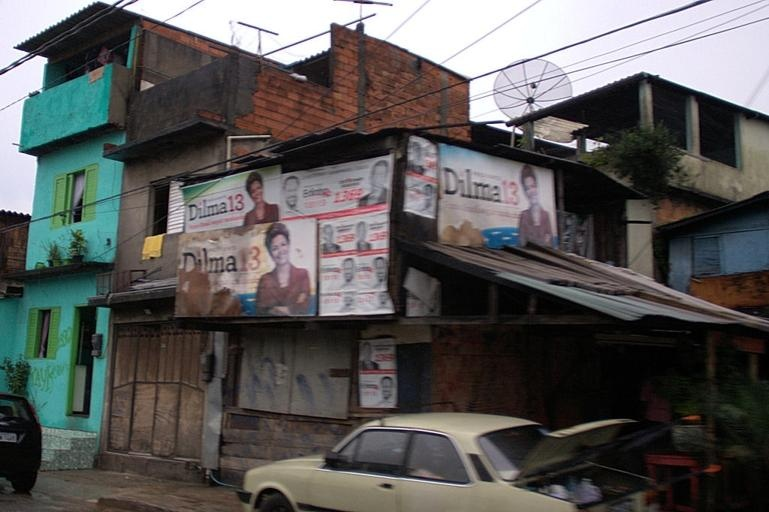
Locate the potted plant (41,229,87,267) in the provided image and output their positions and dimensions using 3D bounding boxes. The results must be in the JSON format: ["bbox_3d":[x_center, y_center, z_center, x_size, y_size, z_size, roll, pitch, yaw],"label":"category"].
[{"bbox_3d":[-9.144,-0.251,23.700,0.753,1.177,1.757,10,-15,-37],"label":"potted plant"}]

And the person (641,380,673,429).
[{"bbox_3d":[5.765,3.178,17.439,0.733,0.775,0.640,20,-32,-11],"label":"person"}]
